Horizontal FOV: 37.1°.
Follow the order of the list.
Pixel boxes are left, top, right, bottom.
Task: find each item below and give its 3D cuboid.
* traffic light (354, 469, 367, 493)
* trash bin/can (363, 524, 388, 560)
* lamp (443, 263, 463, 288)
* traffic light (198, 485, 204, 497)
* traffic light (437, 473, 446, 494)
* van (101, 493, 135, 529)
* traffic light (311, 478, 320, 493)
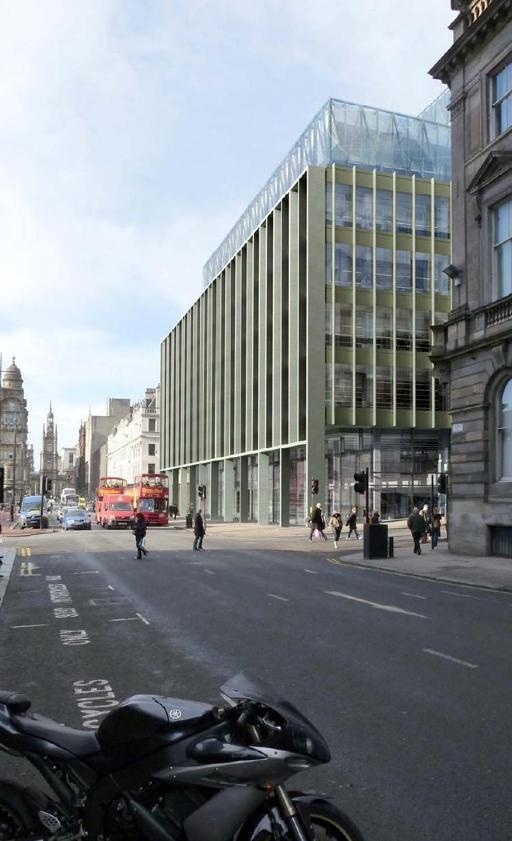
[{"bbox_3d":[3.485,2.004,25.477,0.389,0.731,0.614,0,-6,4],"label":"traffic light"},{"bbox_3d":[3.786,3.880,24.305,0.881,1.527,0.432,4,-6,-29],"label":"trash bin/can"},{"bbox_3d":[6.417,-4.818,25.171,0.509,0.848,0.631,1,-6,-3],"label":"lamp"},{"bbox_3d":[-3.336,4.286,46.174,0.173,0.696,0.630,4,-2,5],"label":"traffic light"},{"bbox_3d":[6.481,2.197,26.609,0.193,0.627,0.841,-1,-6,18],"label":"traffic light"},{"bbox_3d":[-8.965,6.132,50.712,1.435,2.205,4.411,1,-8,-15],"label":"van"},{"bbox_3d":[2.930,3.362,38.775,0.144,0.633,0.569,1,1,35],"label":"traffic light"}]
